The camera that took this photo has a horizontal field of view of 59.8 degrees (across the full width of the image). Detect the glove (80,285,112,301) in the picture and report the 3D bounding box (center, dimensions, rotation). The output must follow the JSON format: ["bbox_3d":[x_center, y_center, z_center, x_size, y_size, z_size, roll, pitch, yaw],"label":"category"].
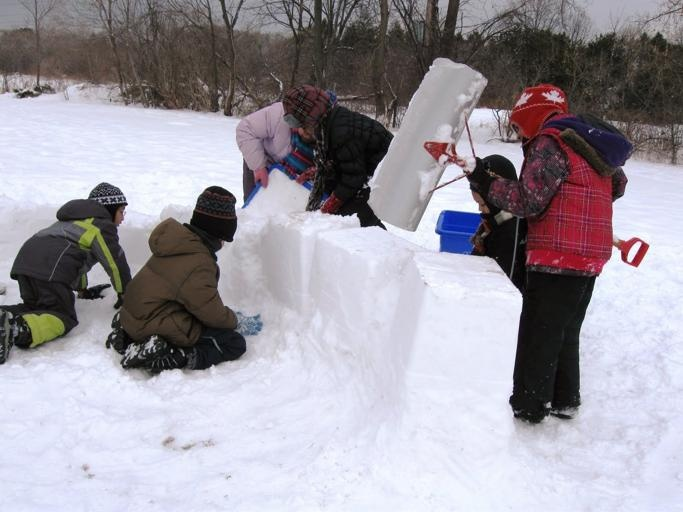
[{"bbox_3d":[-1.844,0.267,4.457,0.230,0.098,0.072,1,41,-40],"label":"glove"}]

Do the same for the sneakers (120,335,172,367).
[{"bbox_3d":[-1.223,0.587,3.678,0.250,0.100,0.155,-26,60,-24],"label":"sneakers"}]

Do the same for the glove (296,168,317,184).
[{"bbox_3d":[-0.290,-0.644,4.822,0.153,0.091,0.037,-30,-30,34],"label":"glove"}]

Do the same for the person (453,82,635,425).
[{"bbox_3d":[1.160,-0.007,3.429,0.845,1.906,0.623,4,12,10],"label":"person"}]

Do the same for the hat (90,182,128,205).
[{"bbox_3d":[-1.647,-0.427,4.187,0.218,0.159,0.160,-3,16,-36],"label":"hat"}]

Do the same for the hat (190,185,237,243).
[{"bbox_3d":[-0.856,-0.322,4.049,0.286,0.293,0.258,11,10,-19],"label":"hat"}]

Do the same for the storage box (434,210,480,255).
[{"bbox_3d":[0.960,-0.209,4.915,0.440,0.334,0.365,3,30,2],"label":"storage box"}]

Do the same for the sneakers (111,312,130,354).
[{"bbox_3d":[-1.451,0.502,3.874,0.149,0.253,0.103,1,-6,-15],"label":"sneakers"}]

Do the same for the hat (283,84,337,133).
[{"bbox_3d":[-0.241,-1.108,4.451,0.394,0.340,0.301,9,10,-8],"label":"hat"}]

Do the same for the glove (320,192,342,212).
[{"bbox_3d":[-0.080,-0.404,4.495,0.056,0.185,0.048,-6,54,-48],"label":"glove"}]

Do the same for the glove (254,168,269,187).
[{"bbox_3d":[-0.689,-0.674,5.065,0.144,0.157,0.106,4,12,7],"label":"glove"}]

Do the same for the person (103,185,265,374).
[{"bbox_3d":[-1.030,0.139,3.825,0.946,1.122,0.491,-3,13,-22],"label":"person"}]
